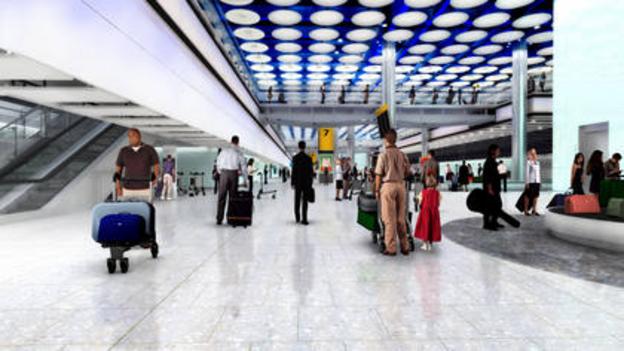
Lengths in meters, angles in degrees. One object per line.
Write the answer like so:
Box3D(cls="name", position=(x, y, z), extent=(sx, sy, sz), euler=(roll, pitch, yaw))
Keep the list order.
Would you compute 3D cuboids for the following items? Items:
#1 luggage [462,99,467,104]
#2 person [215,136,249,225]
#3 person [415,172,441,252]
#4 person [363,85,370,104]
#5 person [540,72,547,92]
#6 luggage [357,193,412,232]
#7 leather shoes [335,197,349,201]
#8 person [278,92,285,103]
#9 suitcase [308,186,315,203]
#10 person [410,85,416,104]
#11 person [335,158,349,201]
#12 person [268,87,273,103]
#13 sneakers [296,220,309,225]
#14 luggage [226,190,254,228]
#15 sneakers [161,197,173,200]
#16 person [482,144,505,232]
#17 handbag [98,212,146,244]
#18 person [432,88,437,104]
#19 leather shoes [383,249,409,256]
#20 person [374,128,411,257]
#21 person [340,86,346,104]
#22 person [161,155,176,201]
Box3D(cls="luggage", position=(12.203, -5.885, 28.298), extent=(0.106, 0.312, 0.370), euler=(0, 4, -16))
Box3D(cls="person", position=(-2.747, 0.115, 11.671), extent=(1.247, 2.768, 1.016), euler=(5, -1, -29))
Box3D(cls="person", position=(2.965, 0.926, 9.122), extent=(0.698, 1.961, 0.622), euler=(-2, -2, 14))
Box3D(cls="person", position=(4.317, -6.345, 27.963), extent=(0.510, 1.358, 0.306), euler=(-2, -2, 6))
Box3D(cls="person", position=(16.516, -6.683, 25.435), extent=(0.605, 0.922, 0.310), euler=(-1, -2, -30))
Box3D(cls="luggage", position=(1.915, 0.998, 9.584), extent=(1.332, 0.718, 1.214), euler=(1, 3, -20))
Box3D(cls="leather shoes", position=(1.576, 1.230, 18.927), extent=(0.768, 0.262, 0.233), euler=(-6, -6, 11))
Box3D(cls="person", position=(-2.386, -6.254, 28.466), extent=(0.494, 0.872, 0.181), euler=(-2, -2, -4))
Box3D(cls="suitcase", position=(-0.023, 0.589, 11.657), extent=(0.232, 0.508, 0.357), euler=(-2, -2, 8))
Box3D(cls="person", position=(7.955, -6.350, 27.904), extent=(0.437, 1.393, 0.937), euler=(-3, -2, 24))
Box3D(cls="person", position=(1.648, 0.211, 18.677), extent=(0.643, 2.151, 1.200), euler=(-3, -2, 17))
Box3D(cls="person", position=(-3.258, -6.453, 28.121), extent=(0.358, 1.052, 0.400), euler=(-3, -2, 19))
Box3D(cls="sneakers", position=(-0.333, 1.545, 11.759), extent=(0.457, 0.144, 0.147), euler=(-4, -4, 29))
Box3D(cls="luggage", position=(-2.254, 1.046, 11.237), extent=(0.795, 1.137, 0.405), euler=(-1, -2, -9))
Box3D(cls="sneakers", position=(-7.642, 1.171, 18.788), extent=(0.611, 0.192, 0.204), euler=(1, -2, -18))
Box3D(cls="person", position=(5.716, 0.325, 11.259), extent=(0.561, 2.714, 1.083), euler=(-3, -2, 27))
Box3D(cls="handbag", position=(-4.184, 1.169, 7.818), extent=(0.870, 0.510, 0.303), euler=(0, -1, 1))
Box3D(cls="person", position=(9.790, -6.293, 28.147), extent=(0.532, 1.185, 0.287), euler=(-1, -2, -17))
Box3D(cls="leather shoes", position=(2.103, 1.903, 8.752), extent=(0.639, 0.216, 0.209), euler=(2, -5, -5))
Box3D(cls="person", position=(2.008, 0.372, 8.809), extent=(0.907, 3.182, 0.467), euler=(-1, -2, -27))
Box3D(cls="person", position=(2.513, -6.422, 28.362), extent=(0.464, 1.373, 0.593), euler=(-2, -2, 5))
Box3D(cls="person", position=(-7.579, 0.061, 18.849), extent=(0.704, 2.379, 0.584), euler=(0, -3, -39))
